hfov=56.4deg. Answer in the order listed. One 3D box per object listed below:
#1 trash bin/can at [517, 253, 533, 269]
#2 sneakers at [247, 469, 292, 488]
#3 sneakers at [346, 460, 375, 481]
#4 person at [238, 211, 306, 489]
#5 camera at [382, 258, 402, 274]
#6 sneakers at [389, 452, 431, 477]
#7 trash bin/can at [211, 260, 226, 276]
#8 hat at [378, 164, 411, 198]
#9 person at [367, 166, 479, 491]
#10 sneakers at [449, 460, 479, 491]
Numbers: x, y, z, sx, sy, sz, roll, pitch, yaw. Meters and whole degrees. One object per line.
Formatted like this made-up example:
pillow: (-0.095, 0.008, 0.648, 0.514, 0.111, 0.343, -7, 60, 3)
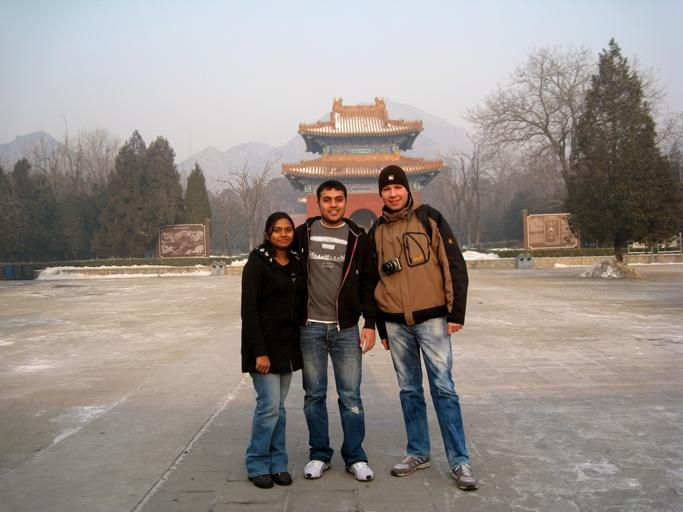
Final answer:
trash bin/can: (9.258, 0.338, 32.489, 0.882, 0.869, 0.656, -1, -2, 3)
sneakers: (-0.507, 1.632, 4.641, 0.207, 0.072, 0.134, -15, -16, 41)
sneakers: (0.148, 1.615, 4.717, 0.090, 0.076, 0.187, -9, -3, -32)
person: (-0.516, 0.679, 4.813, 0.481, 2.012, 0.505, -2, 3, -19)
camera: (0.378, 0.100, 4.881, 0.144, 0.102, 0.104, -4, -4, 45)
sneakers: (0.510, 1.602, 4.863, 0.322, 0.151, 0.117, -1, -6, -26)
trash bin/can: (-6.309, 0.695, 32.714, 0.675, 0.699, 0.678, -1, -2, -12)
hat: (0.396, -0.592, 4.967, 0.204, 0.214, 0.234, -3, -14, 3)
person: (0.569, 0.484, 4.804, 0.811, 2.347, 0.556, 0, 3, 16)
sneakers: (0.882, 1.598, 4.579, 0.180, 0.143, 0.188, 0, 3, 11)
